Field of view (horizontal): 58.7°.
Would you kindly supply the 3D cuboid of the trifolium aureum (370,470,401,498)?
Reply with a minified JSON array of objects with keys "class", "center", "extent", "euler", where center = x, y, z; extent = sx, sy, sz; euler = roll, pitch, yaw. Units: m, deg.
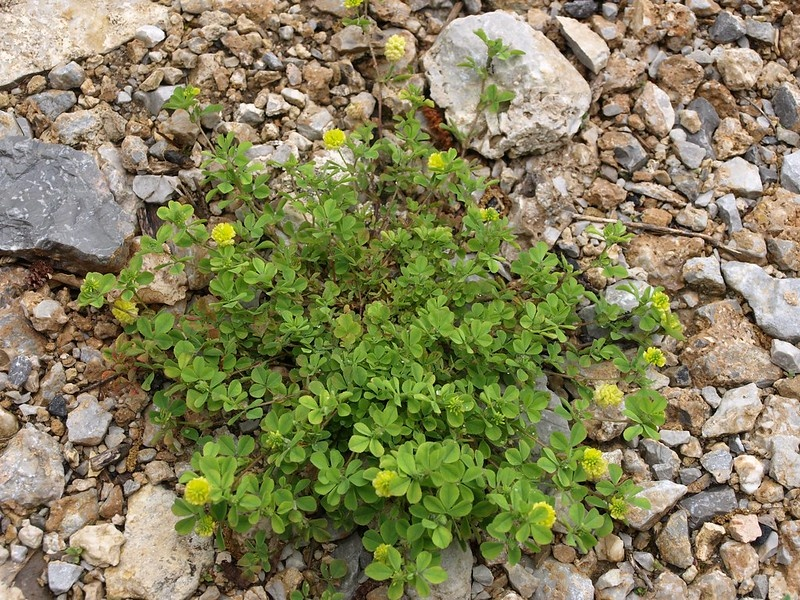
[{"class":"trifolium aureum","center":[-0.070,0.892,3.464],"extent":[0.127,0.210,0.129],"euler":[-6,81,-1]}]

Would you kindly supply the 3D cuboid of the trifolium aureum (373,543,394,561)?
[{"class":"trifolium aureum","center":[-0.093,1.261,3.538],"extent":[0.074,0.116,0.093],"euler":[-8,81,-1]}]

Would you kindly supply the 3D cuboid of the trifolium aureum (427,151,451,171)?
[{"class":"trifolium aureum","center":[0.222,-0.785,4.018],"extent":[0.115,0.115,0.101],"euler":[-1,81,0]}]

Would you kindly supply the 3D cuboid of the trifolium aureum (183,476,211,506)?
[{"class":"trifolium aureum","center":[-0.972,0.917,3.400],"extent":[0.128,0.071,0.141],"euler":[13,87,-5]}]

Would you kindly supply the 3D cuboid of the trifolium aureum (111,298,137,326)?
[{"class":"trifolium aureum","center":[-1.555,0.061,3.990],"extent":[0.147,0.098,0.156],"euler":[2,78,-9]}]
